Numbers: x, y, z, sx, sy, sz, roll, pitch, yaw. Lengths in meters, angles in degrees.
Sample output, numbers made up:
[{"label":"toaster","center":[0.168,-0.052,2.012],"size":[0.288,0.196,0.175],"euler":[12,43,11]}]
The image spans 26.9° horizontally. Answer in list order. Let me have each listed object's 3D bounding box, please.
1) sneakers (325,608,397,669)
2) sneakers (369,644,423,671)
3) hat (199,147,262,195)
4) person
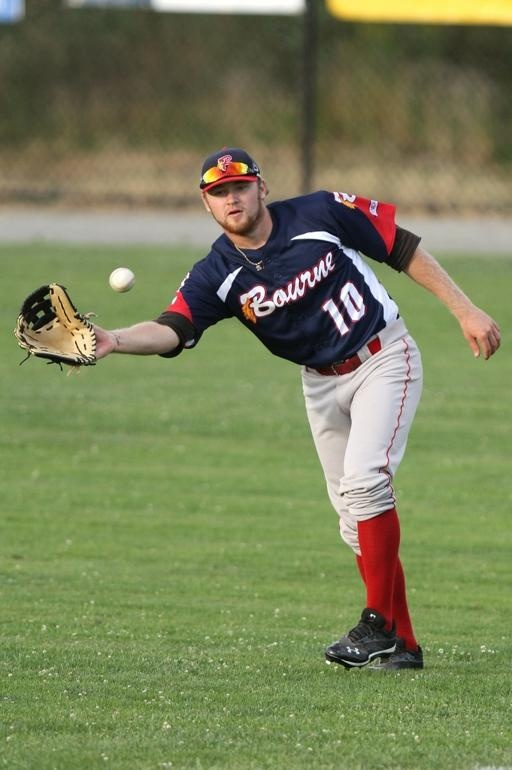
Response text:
[{"label":"sneakers","center":[0.306,0.723,3.070],"size":[0.106,0.137,0.296],"euler":[11,6,42]},{"label":"sneakers","center":[0.435,0.805,3.157],"size":[0.200,0.069,0.060],"euler":[1,-6,-15]},{"label":"hat","center":[-0.086,-0.636,3.176],"size":[0.130,0.089,0.161],"euler":[-18,1,3]},{"label":"person","center":[0.078,0.047,3.148],"size":[1.266,1.461,0.462],"euler":[1,7,0]}]
